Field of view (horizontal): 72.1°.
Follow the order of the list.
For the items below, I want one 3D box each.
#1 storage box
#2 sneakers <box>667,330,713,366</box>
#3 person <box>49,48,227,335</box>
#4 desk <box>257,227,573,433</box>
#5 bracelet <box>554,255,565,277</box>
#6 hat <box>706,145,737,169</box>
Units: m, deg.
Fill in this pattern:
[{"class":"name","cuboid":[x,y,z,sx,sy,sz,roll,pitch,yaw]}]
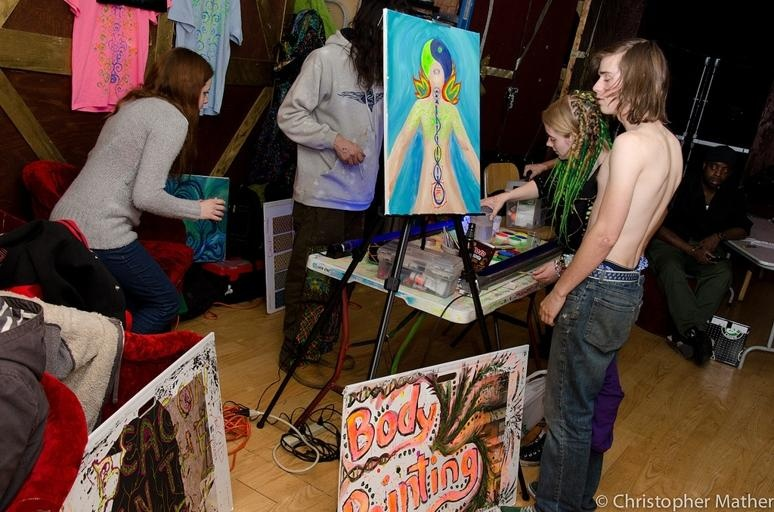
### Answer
[{"class":"storage box","cuboid":[0.170,0.013,2.618,0.337,0.156,0.246,16,23,20]},{"class":"sneakers","cuboid":[2.361,0.692,4.134,0.133,0.184,0.413,1,16,-11]},{"class":"person","cuboid":[-1.285,-0.297,2.791,0.848,1.440,0.550,-13,31,-33]},{"class":"desk","cuboid":[0.102,0.373,2.915,1.091,1.049,1.345,31,29,34]},{"class":"bracelet","cuboid":[0.886,0.051,2.713,0.033,0.101,0.071,0,-2,24]},{"class":"hat","cuboid":[2.764,-0.813,4.420,0.164,0.124,0.198,15,17,3]}]
